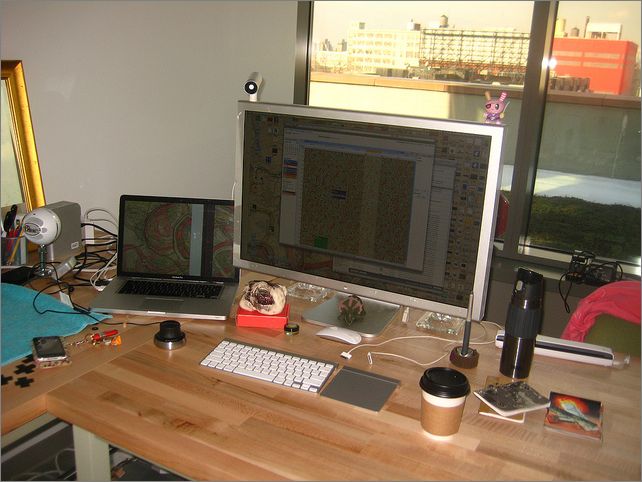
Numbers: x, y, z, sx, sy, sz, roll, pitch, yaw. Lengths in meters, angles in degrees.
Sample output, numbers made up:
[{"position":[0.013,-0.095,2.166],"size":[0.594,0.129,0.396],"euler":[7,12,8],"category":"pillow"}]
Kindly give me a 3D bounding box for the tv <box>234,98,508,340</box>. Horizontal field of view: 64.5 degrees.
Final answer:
[{"position":[0.124,-0.053,1.528],"size":[0.734,0.527,0.209],"euler":[12,26,22],"category":"tv"}]

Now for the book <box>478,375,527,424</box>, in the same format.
[{"position":[0.456,0.405,1.285],"size":[0.078,0.010,0.140],"euler":[6,15,19],"category":"book"}]

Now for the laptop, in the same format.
[{"position":[-0.486,0.044,1.713],"size":[0.554,0.328,0.389],"euler":[2,24,-2],"category":"laptop"}]

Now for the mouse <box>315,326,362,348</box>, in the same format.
[{"position":[0.057,0.285,1.533],"size":[0.108,0.026,0.057],"euler":[10,13,20],"category":"mouse"}]
